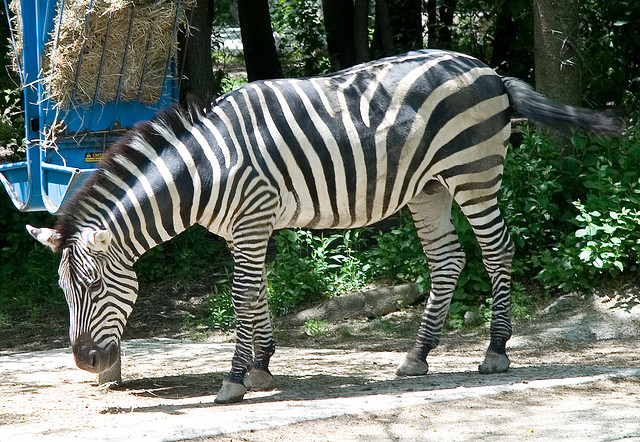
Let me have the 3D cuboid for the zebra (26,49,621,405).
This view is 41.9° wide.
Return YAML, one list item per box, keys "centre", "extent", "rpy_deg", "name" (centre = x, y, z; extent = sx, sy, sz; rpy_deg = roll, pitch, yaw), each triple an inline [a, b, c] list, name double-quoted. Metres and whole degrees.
- centre: [0.211, 0.084, 7.818]
  extent: [5.310, 3.014, 1.331]
  rpy_deg: [-6, 10, -14]
  name: "zebra"
